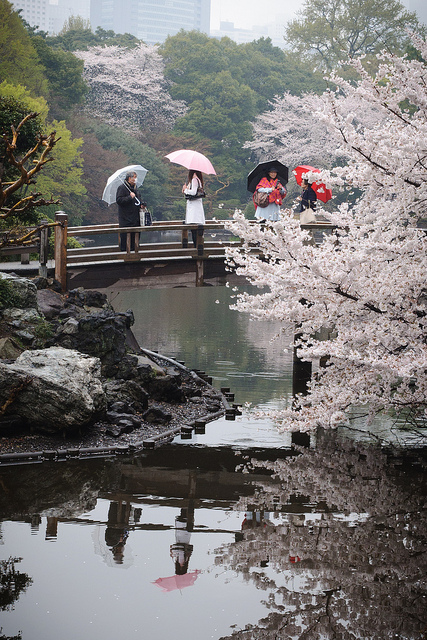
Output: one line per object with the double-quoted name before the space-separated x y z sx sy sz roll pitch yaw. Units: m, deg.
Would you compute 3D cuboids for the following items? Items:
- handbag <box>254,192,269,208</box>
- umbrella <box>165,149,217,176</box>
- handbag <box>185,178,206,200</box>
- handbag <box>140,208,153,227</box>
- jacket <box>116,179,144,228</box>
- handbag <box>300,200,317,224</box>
"handbag" 0.797 -2.001 16.089 0.215 0.249 0.114 10 15 42
"umbrella" -0.409 -2.641 16.185 0.852 0.361 0.858 -5 15 -34
"handbag" -0.316 -2.208 16.338 0.306 0.396 0.526 3 12 -1
"handbag" -1.157 -1.717 16.240 0.189 0.304 0.489 2 12 -5
"jacket" -1.359 -1.796 15.867 0.399 1.071 0.328 -13 24 -37
"handbag" 1.437 -1.593 14.798 0.251 0.255 0.591 4 12 4
